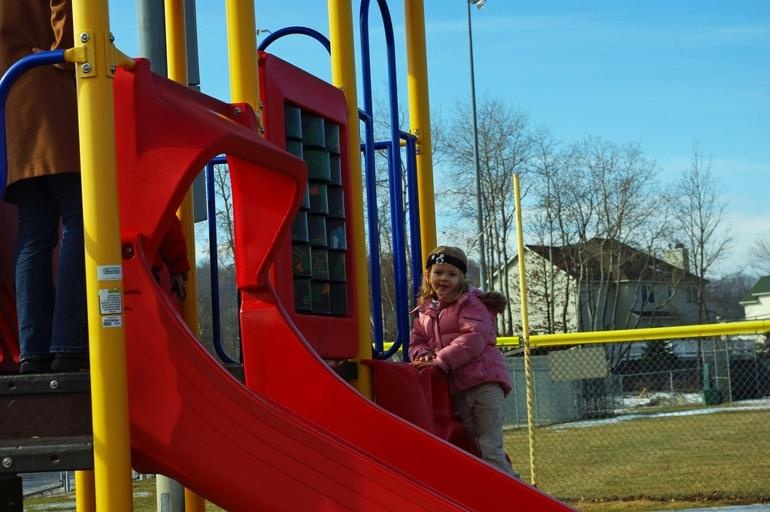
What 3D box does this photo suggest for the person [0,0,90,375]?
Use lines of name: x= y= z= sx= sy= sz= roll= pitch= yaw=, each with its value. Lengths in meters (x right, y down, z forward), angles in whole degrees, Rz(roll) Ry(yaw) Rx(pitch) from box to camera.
person: x=-1.602 y=-0.351 z=4.819 sx=0.438 sy=1.789 sz=0.359 roll=-3 pitch=-9 yaw=3
